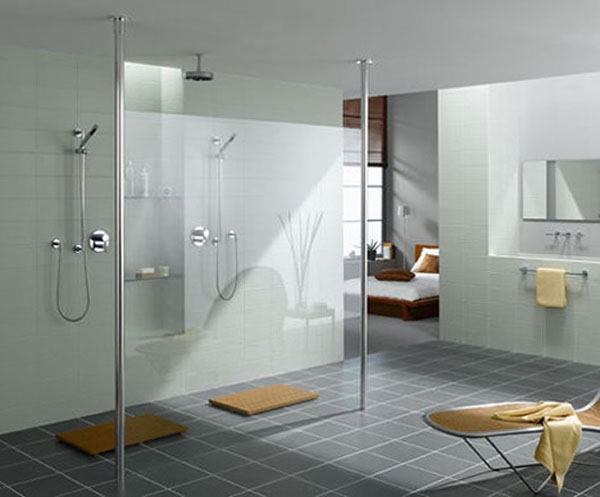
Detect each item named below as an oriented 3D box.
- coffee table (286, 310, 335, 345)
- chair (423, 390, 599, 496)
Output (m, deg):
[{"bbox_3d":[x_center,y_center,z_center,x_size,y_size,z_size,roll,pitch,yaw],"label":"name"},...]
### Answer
[{"bbox_3d":[0.113,0.681,4.665,0.402,0.277,0.298,0,1,-43],"label":"coffee table"},{"bbox_3d":[1.375,1.109,3.057,1.160,0.458,0.489,-1,-2,-21],"label":"chair"}]
